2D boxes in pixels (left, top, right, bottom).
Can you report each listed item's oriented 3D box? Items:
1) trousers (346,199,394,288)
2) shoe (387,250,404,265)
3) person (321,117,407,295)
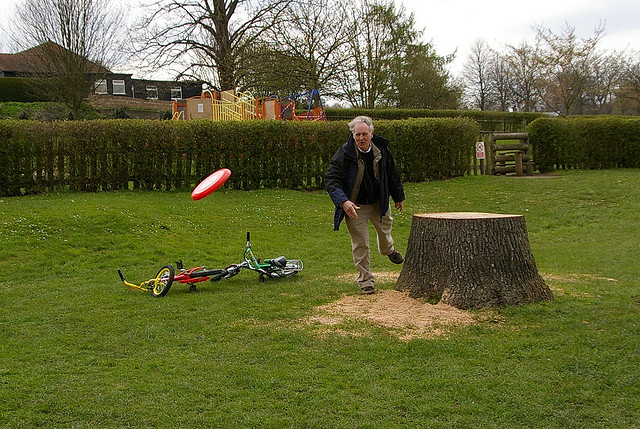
[{"bbox_3d":[0.853,0.533,12.391,0.947,1.635,0.668,0,5,-11],"label":"trousers"},{"bbox_3d":[1.366,0.809,12.726,0.140,0.161,0.346,8,6,-36],"label":"shoe"},{"bbox_3d":[0.776,-0.150,12.247,1.432,3.150,0.572,-2,6,-30],"label":"person"}]
